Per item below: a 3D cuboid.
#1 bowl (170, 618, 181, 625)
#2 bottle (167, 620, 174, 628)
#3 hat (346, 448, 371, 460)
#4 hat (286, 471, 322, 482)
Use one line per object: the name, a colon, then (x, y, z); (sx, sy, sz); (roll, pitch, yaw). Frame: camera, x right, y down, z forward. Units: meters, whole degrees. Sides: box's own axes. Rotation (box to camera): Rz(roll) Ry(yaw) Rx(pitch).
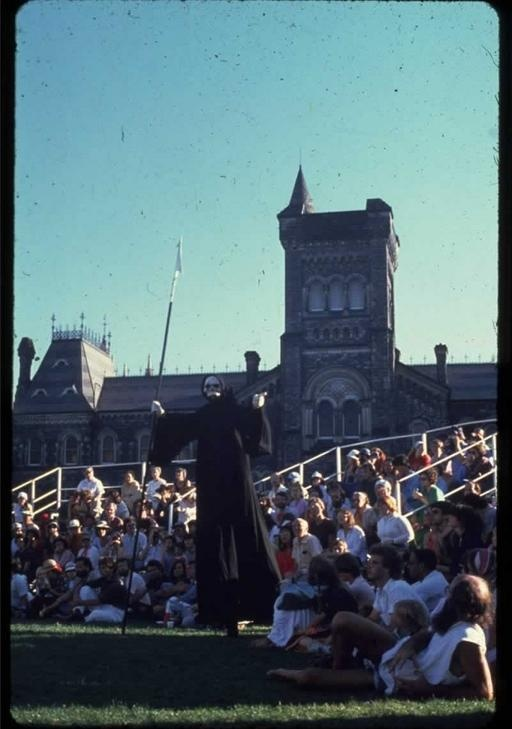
bowl: (-0.814, 2.553, 17.409); (0.069, 0.060, 0.043); (-3, -12, 15)
bottle: (-0.854, 2.567, 17.368); (0.050, 0.053, 0.047); (-1, -16, -4)
hat: (1.172, 1.046, 20.266); (0.140, 0.127, 0.218); (1, -14, -41)
hat: (0.531, 1.315, 19.946); (0.277, 0.154, 0.196); (2, -14, -2)
